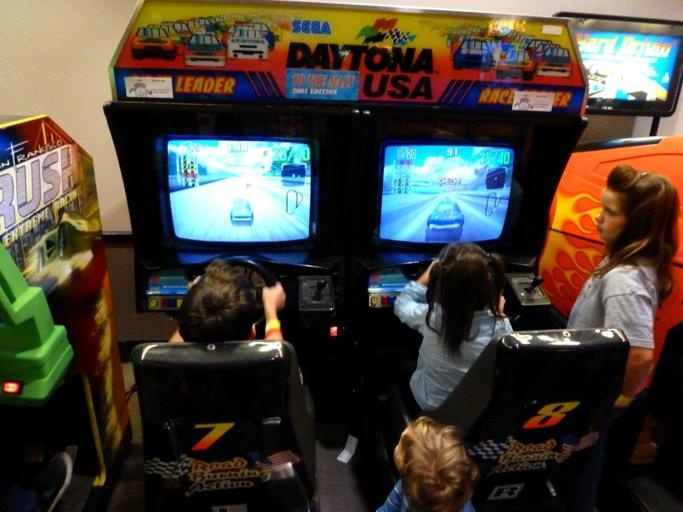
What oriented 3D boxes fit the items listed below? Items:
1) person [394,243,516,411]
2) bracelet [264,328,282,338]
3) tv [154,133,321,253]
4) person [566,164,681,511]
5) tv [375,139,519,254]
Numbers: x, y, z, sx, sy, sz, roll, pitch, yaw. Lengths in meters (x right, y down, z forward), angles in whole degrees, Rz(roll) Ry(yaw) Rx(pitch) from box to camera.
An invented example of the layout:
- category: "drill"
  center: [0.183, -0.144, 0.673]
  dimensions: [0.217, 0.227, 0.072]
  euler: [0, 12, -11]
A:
- category: "person"
  center: [0.445, 0.310, 2.325]
  dimensions: [0.431, 0.791, 0.514]
  euler: [-11, 25, -26]
- category: "bracelet"
  center: [-0.292, 0.329, 2.158]
  dimensions: [0.051, 0.058, 0.053]
  euler: [1, -1, 27]
- category: "tv"
  center: [-0.473, -0.342, 2.738]
  dimensions: [0.858, 0.573, 0.463]
  euler: [2, 10, 10]
- category: "person"
  center: [1.282, 0.193, 2.302]
  dimensions: [0.400, 1.138, 0.504]
  euler: [8, 23, 19]
- category: "tv"
  center: [0.544, -0.268, 2.884]
  dimensions: [0.865, 0.664, 0.468]
  euler: [0, 17, -3]
